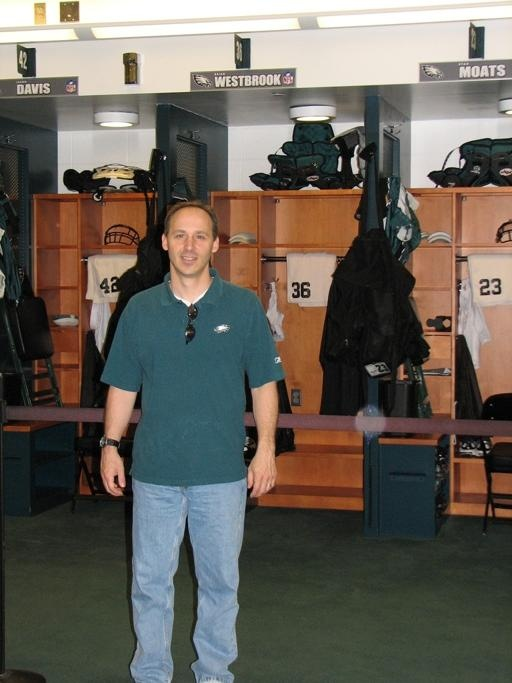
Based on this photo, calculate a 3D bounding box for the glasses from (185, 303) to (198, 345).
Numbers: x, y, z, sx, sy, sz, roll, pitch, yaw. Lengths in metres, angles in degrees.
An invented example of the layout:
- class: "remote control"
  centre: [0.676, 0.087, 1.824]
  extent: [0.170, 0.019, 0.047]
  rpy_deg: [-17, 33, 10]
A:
- class: "glasses"
  centre: [-0.161, -0.042, 1.561]
  extent: [0.029, 0.097, 0.032]
  rpy_deg: [0, -4, -4]

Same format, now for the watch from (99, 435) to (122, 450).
- class: "watch"
  centre: [-0.390, 0.272, 1.672]
  extent: [0.048, 0.026, 0.046]
  rpy_deg: [11, -13, -18]
